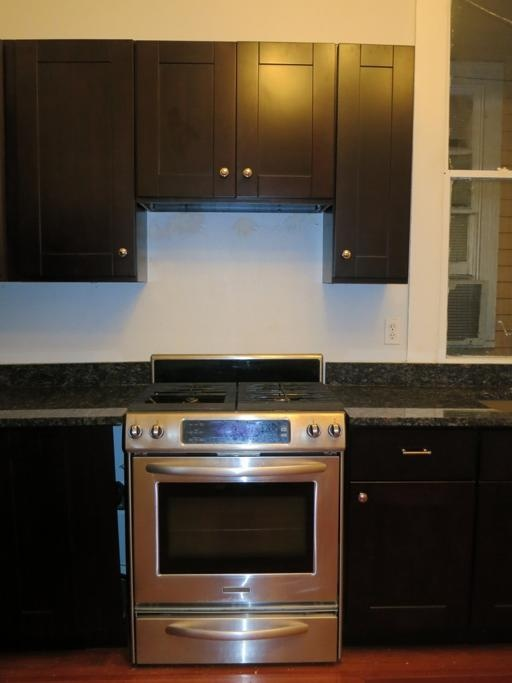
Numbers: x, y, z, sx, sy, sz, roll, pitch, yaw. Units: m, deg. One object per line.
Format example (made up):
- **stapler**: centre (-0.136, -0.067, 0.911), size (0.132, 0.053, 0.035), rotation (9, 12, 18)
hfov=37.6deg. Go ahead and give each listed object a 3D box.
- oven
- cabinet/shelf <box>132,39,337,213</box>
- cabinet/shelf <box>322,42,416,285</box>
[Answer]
- **oven**: centre (-0.042, 0.479, 2.716), size (0.872, 0.594, 0.717), rotation (-1, -90, -2)
- **cabinet/shelf**: centre (-0.139, -0.832, 2.832), size (0.778, 0.432, 0.530), rotation (-7, -70, -25)
- **cabinet/shelf**: centre (0.483, -0.643, 2.804), size (0.341, 0.243, 0.844), rotation (9, -70, 29)
